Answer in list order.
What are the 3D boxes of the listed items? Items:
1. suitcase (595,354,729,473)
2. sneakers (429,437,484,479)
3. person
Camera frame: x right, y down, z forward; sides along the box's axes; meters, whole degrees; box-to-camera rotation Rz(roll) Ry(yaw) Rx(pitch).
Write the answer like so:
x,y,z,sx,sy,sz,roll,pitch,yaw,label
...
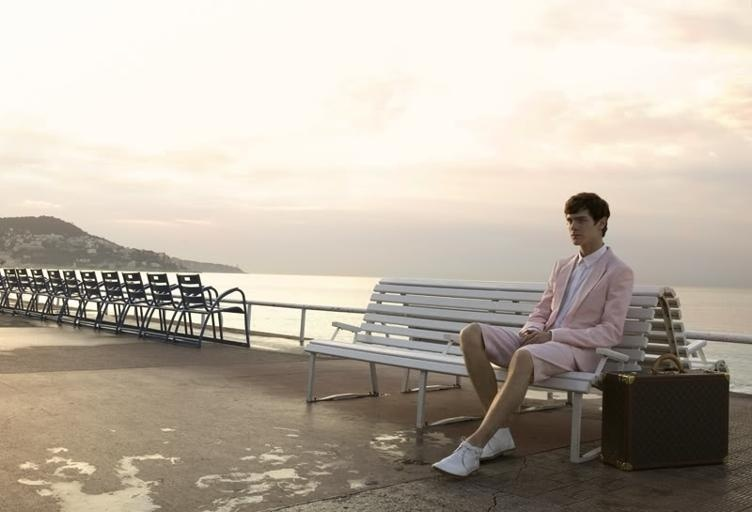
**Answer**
x,y,z,sx,sy,sz,roll,pitch,yaw,label
2.048,1.161,3.927,1.081,0.704,0.331,1,0,-13,suitcase
0.541,1.351,3.595,0.158,0.145,0.423,5,-8,41,sneakers
1.189,0.481,4.144,1.400,1.796,0.654,2,-1,-30,person
